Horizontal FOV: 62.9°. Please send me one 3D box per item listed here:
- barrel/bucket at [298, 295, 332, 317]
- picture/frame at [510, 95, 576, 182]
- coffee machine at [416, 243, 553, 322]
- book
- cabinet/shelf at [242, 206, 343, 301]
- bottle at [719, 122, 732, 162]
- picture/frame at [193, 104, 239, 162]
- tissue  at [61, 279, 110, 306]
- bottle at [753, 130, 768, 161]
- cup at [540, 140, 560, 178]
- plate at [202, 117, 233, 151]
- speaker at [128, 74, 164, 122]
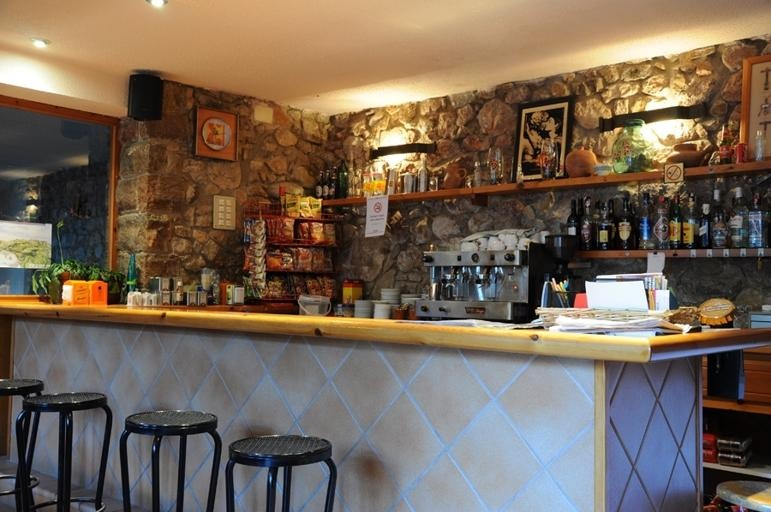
[{"bbox_3d":[-0.722,0.455,5.980,0.232,0.126,0.242,4,2,0],"label":"barrel/bucket"},{"bbox_3d":[1.438,-1.087,5.824,0.530,0.721,0.286,1,10,39],"label":"picture/frame"},{"bbox_3d":[0.938,0.294,5.548,1.193,0.726,0.689,-3,-10,38],"label":"coffee machine"},{"bbox_3d":[1.033,0.315,2.895,0.688,0.146,0.268,-3,8,14],"label":"book"},{"bbox_3d":[-1.042,-0.035,6.582,0.974,0.858,0.343,11,-14,-42],"label":"cabinet/shelf"},{"bbox_3d":[2.690,-0.887,4.975,0.100,0.299,0.319,-1,9,29],"label":"bottle"},{"bbox_3d":[-1.758,-1.246,6.371,0.651,0.647,0.091,3,-6,-38],"label":"picture/frame"},{"bbox_3d":[-2.550,0.310,5.302,0.220,0.258,0.405,1,0,38],"label":"tissue "},{"bbox_3d":[2.860,-0.849,4.810,0.078,0.229,0.178,-1,9,30],"label":"bottle"},{"bbox_3d":[1.461,-0.878,5.662,0.181,0.353,0.316,-4,8,14],"label":"cup"},{"bbox_3d":[-1.739,-1.241,6.380,0.335,0.311,0.043,-15,11,-37],"label":"plate"},{"bbox_3d":[-2.291,-1.513,5.965,0.355,0.451,0.206,-8,8,-17],"label":"speaker"}]
